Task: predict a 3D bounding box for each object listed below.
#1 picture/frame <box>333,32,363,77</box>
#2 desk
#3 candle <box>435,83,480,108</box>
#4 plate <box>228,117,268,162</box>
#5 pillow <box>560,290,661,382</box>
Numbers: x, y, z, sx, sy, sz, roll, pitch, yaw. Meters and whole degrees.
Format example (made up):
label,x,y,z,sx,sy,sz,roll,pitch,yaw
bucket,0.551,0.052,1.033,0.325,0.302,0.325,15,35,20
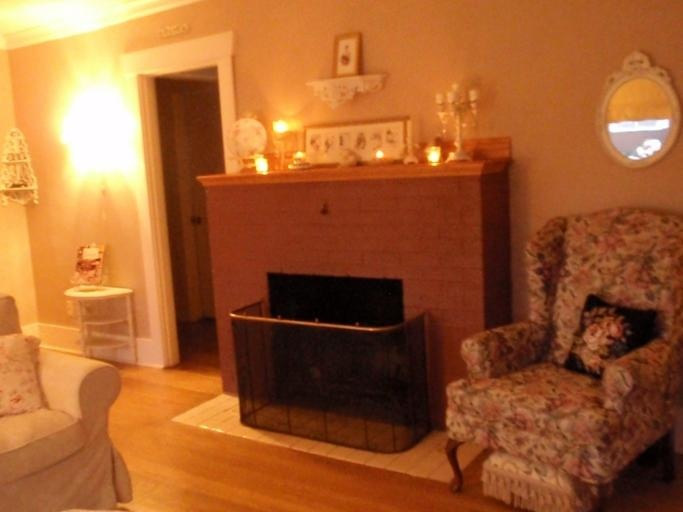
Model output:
label,x,y,z,sx,sy,sz,roll,pitch,yaw
picture/frame,0.040,-1.345,3.862,0.178,0.269,0.078,4,15,31
desk,-2.252,0.649,5.279,0.696,0.809,0.653,-8,12,-27
candle,0.717,-0.971,3.519,0.213,0.095,0.206,-7,17,-7
plate,-0.642,-0.825,4.140,0.275,0.303,0.270,1,14,-4
pillow,1.307,0.408,2.892,0.122,0.369,0.403,17,-5,-39
